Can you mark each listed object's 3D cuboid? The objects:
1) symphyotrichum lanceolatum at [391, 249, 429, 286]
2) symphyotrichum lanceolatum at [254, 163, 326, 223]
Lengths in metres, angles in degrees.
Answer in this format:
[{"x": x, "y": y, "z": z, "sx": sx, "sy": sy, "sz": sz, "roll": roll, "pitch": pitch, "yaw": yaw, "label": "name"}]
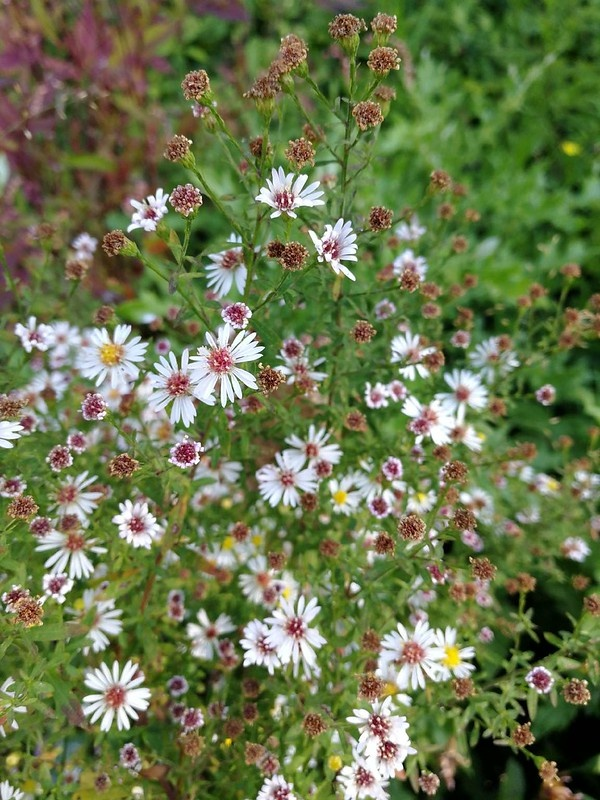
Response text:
[{"x": 0.303, "y": -0.369, "z": 2.421, "sx": 0.127, "sy": 0.052, "sz": 0.115, "roll": -8, "pitch": 54, "yaw": -5, "label": "symphyotrichum lanceolatum"}, {"x": -0.027, "y": -0.446, "z": 1.914, "sx": 0.130, "sy": 0.127, "sz": 0.045, "roll": -1, "pitch": 81, "yaw": -24, "label": "symphyotrichum lanceolatum"}]
